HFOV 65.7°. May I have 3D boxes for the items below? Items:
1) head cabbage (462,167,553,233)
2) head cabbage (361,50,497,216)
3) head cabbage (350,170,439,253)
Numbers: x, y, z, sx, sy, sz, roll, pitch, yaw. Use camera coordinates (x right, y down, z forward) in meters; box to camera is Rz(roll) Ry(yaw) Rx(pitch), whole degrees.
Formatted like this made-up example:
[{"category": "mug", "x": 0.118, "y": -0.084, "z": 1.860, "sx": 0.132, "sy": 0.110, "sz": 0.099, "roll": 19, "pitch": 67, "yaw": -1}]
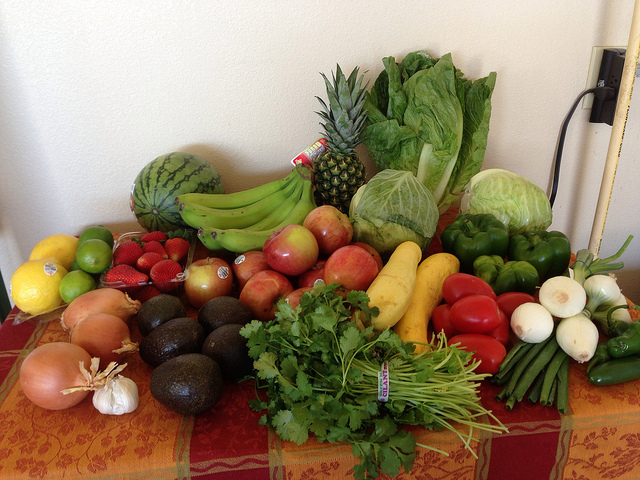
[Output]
[{"category": "head cabbage", "x": 0.602, "y": -0.117, "z": 1.645, "sx": 0.277, "sy": 0.221, "sz": 0.252, "roll": -3, "pitch": 21, "yaw": -13}, {"category": "head cabbage", "x": 0.369, "y": -0.305, "z": 1.634, "sx": 0.383, "sy": 0.549, "sz": 0.221, "roll": -1, "pitch": 0, "yaw": 11}, {"category": "head cabbage", "x": 0.220, "y": -0.088, "z": 1.443, "sx": 0.218, "sy": 0.197, "sz": 0.240, "roll": 7, "pitch": 10, "yaw": 0}]
